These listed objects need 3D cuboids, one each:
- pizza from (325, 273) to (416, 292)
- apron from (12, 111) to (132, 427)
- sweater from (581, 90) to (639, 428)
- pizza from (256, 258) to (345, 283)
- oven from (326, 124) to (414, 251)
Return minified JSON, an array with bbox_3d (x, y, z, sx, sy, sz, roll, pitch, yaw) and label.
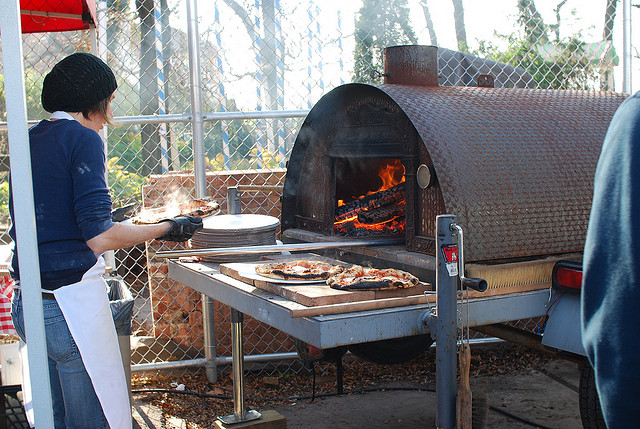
[{"bbox_3d":[0.278,0.375,3.195,0.508,0.066,0.348,1,6,15],"label":"pizza"},{"bbox_3d":[-1.172,0.304,3.005,0.668,1.558,0.634,-8,21,-26],"label":"apron"},{"bbox_3d":[0.902,0.133,1.757,0.167,1.025,0.197,2,7,25],"label":"sweater"},{"bbox_3d":[-0.119,0.333,3.484,0.524,0.058,0.509,-3,6,-18],"label":"pizza"},{"bbox_3d":[0.353,-0.196,4.069,0.485,0.892,0.891,1,-1,-38],"label":"oven"}]
